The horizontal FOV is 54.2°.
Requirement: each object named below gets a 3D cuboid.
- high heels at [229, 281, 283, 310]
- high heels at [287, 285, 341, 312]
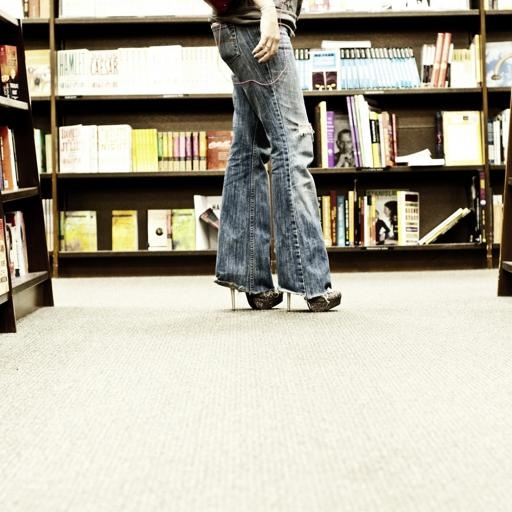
[{"bbox_3d":[0.009,0.109,1.497,0.174,0.097,0.065,-4,4,-11],"label":"high heels"},{"bbox_3d":[0.154,0.101,1.385,0.147,0.087,0.066,-6,5,-3],"label":"high heels"}]
